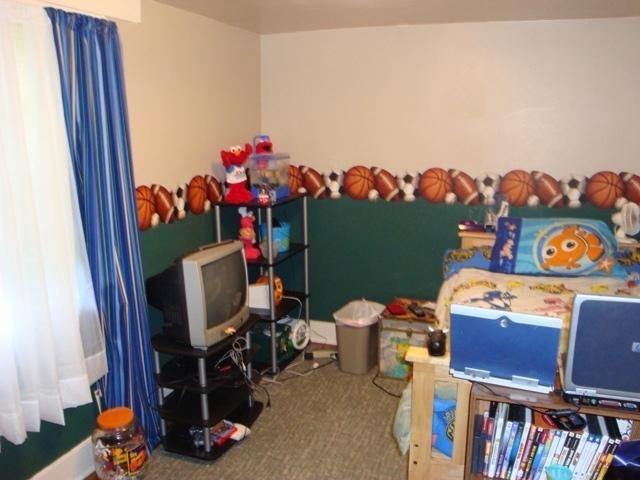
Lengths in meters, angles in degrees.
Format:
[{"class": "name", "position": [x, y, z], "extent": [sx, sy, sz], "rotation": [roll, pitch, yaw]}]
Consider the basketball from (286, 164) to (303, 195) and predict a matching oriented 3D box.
[{"class": "basketball", "position": [-0.237, -0.569, 4.654], "extent": [0.201, 0.278, 0.223], "rotation": [0, 3, -4]}]

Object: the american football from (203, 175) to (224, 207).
[{"class": "american football", "position": [-0.872, -0.426, 4.215], "extent": [0.115, 0.250, 0.140], "rotation": [-8, 30, 18]}]

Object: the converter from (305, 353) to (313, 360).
[{"class": "converter", "position": [-0.098, 1.037, 4.518], "extent": [0.044, 0.041, 0.049], "rotation": [-1, 8, -6]}]

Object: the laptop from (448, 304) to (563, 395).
[{"class": "laptop", "position": [0.919, 0.446, 2.551], "extent": [0.501, 0.486, 0.437], "rotation": [1, 33, 16]}]

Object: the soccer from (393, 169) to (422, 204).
[{"class": "soccer", "position": [0.749, -0.468, 4.361], "extent": [0.190, 0.259, 0.208], "rotation": [-4, 3, -5]}]

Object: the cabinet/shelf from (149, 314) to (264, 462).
[{"class": "cabinet/shelf", "position": [-0.784, 0.984, 3.659], "extent": [0.699, 0.925, 0.939], "rotation": [5, 15, 17]}]

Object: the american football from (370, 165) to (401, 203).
[{"class": "american football", "position": [0.569, -0.485, 4.424], "extent": [0.162, 0.300, 0.180], "rotation": [-41, -2, -29]}]

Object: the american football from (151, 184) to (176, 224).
[{"class": "american football", "position": [-1.134, -0.259, 3.701], "extent": [0.116, 0.242, 0.077], "rotation": [-10, 5, 42]}]

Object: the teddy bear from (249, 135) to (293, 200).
[{"class": "teddy bear", "position": [-0.439, -0.601, 4.312], "extent": [0.343, 0.571, 0.338], "rotation": [1, 4, 20]}]

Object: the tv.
[{"class": "tv", "position": [-0.819, 0.327, 3.464], "extent": [0.535, 0.630, 0.622], "rotation": [5, 12, 24]}]

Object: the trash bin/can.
[{"class": "trash bin/can", "position": [0.338, 0.772, 4.456], "extent": [0.451, 0.659, 0.706], "rotation": [3, 7, 21]}]

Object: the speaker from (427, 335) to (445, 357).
[{"class": "speaker", "position": [0.598, 0.541, 2.636], "extent": [0.090, 0.099, 0.095], "rotation": [0, 9, 7]}]

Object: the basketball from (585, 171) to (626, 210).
[{"class": "basketball", "position": [2.252, -0.422, 4.038], "extent": [0.228, 0.259, 0.235], "rotation": [32, 39, 23]}]

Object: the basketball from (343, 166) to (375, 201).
[{"class": "basketball", "position": [0.368, -0.523, 4.639], "extent": [0.257, 0.279, 0.263], "rotation": [33, 11, 7]}]

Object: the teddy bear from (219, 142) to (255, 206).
[{"class": "teddy bear", "position": [-0.663, -0.525, 4.083], "extent": [0.243, 0.458, 0.277], "rotation": [-5, 12, -10]}]

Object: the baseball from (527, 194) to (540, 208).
[{"class": "baseball", "position": [1.715, -0.312, 4.104], "extent": [0.068, 0.098, 0.078], "rotation": [-3, 7, -7]}]

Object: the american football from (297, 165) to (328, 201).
[{"class": "american football", "position": [-0.049, -0.555, 4.711], "extent": [0.173, 0.335, 0.173], "rotation": [-45, -4, 30]}]

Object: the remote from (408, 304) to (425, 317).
[{"class": "remote", "position": [0.773, 0.570, 4.104], "extent": [0.065, 0.031, 0.123], "rotation": [-24, 15, 4]}]

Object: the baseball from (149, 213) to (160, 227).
[{"class": "baseball", "position": [-1.178, -0.148, 3.647], "extent": [0.064, 0.136, 0.087], "rotation": [5, 10, 21]}]

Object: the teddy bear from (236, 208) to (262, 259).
[{"class": "teddy bear", "position": [-0.610, -0.079, 4.240], "extent": [0.263, 0.418, 0.183], "rotation": [8, 12, 39]}]

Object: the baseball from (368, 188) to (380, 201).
[{"class": "baseball", "position": [0.466, -0.397, 4.423], "extent": [0.068, 0.081, 0.098], "rotation": [-2, 3, -4]}]

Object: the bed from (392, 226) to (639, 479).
[{"class": "bed", "position": [1.139, 0.983, 3.417], "extent": [1.248, 1.194, 1.810], "rotation": [7, 29, 21]}]

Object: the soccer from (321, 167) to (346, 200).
[{"class": "soccer", "position": [0.118, -0.514, 4.573], "extent": [0.197, 0.276, 0.214], "rotation": [-1, 3, 6]}]
